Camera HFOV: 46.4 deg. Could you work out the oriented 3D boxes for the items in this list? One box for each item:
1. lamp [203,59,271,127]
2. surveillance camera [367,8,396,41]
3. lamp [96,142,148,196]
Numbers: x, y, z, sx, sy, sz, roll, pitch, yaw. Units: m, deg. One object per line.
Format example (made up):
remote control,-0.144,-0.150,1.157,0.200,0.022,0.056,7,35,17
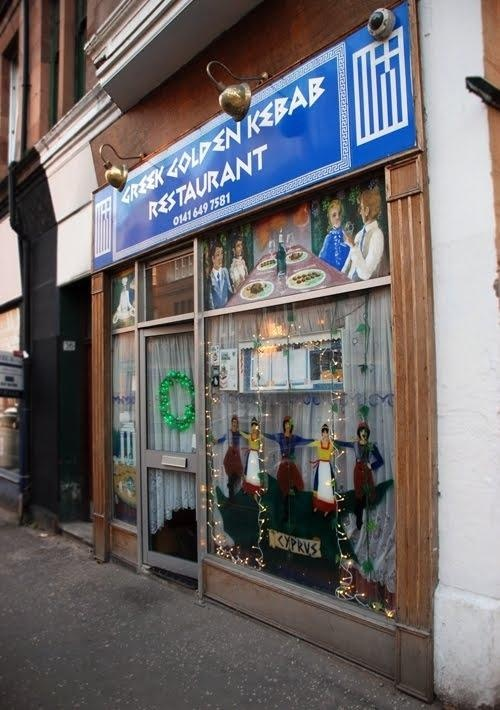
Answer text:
lamp,-0.106,-1.773,3.878,0.426,0.402,0.253,-45,16,-24
surveillance camera,0.724,-1.840,3.248,0.170,0.152,0.092,0,2,42
lamp,-1.178,-1.730,5.259,0.210,0.422,0.473,-28,15,40
